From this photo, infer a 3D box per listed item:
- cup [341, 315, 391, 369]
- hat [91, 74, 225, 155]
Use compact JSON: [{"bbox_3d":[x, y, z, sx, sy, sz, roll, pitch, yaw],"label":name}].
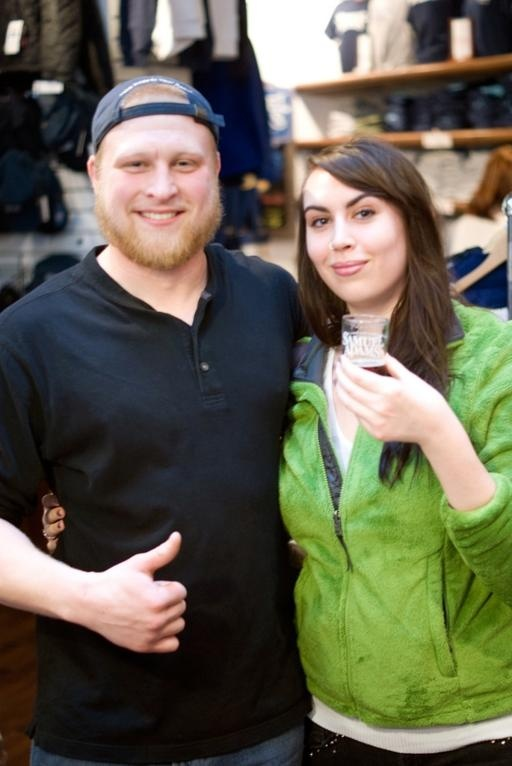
[{"bbox_3d":[0.215,-0.083,1.377,0.110,0.110,0.107,-1,4,0],"label":"cup"},{"bbox_3d":[-0.247,-0.595,1.571,0.219,0.120,0.213,6,-18,-45],"label":"hat"}]
